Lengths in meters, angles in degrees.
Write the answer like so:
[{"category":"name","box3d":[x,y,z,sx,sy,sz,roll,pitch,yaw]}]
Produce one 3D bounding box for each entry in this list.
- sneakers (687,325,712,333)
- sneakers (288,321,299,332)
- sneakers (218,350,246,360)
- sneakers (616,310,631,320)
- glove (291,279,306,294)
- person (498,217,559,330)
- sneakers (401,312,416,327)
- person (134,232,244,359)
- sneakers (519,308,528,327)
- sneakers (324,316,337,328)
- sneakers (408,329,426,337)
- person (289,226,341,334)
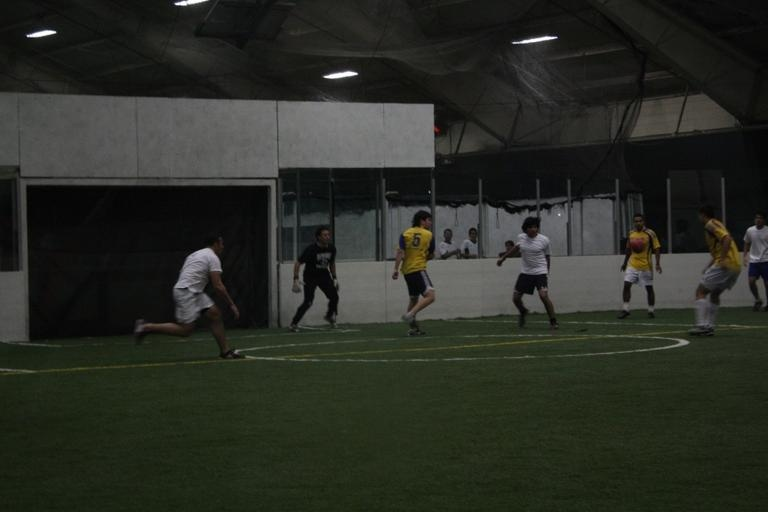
[{"category":"sneakers","box3d":[5.932,1.394,13.577,0.437,0.209,0.163,4,-12,-3]},{"category":"sneakers","box3d":[-2.113,1.630,16.744,0.276,0.283,0.136,0,5,2]},{"category":"sneakers","box3d":[-2.404,1.554,11.441,0.452,0.187,0.165,-1,-9,1]},{"category":"sneakers","box3d":[6.081,1.494,18.415,0.158,0.206,0.486,-6,-7,38]},{"category":"glove","box3d":[-2.031,0.704,16.872,0.290,0.257,0.504,-15,-5,-1]},{"category":"person","box3d":[3.193,0.364,15.820,1.005,2.105,0.952,-3,-1,35]},{"category":"sneakers","box3d":[0.527,1.286,14.631,0.166,0.191,0.423,13,-18,35]},{"category":"person","box3d":[-2.855,0.659,11.192,1.114,1.925,0.568,-2,-1,5]},{"category":"sneakers","box3d":[3.097,1.378,16.203,0.212,0.509,0.169,0,8,-10]},{"category":"sneakers","box3d":[-1.292,1.592,17.312,0.154,0.211,0.494,-8,-40,8]},{"category":"sneakers","box3d":[0.665,1.584,14.965,0.378,0.166,0.132,1,-1,-21]},{"category":"person","box3d":[-1.610,0.517,16.650,1.024,1.687,1.210,-2,-1,-6]}]
